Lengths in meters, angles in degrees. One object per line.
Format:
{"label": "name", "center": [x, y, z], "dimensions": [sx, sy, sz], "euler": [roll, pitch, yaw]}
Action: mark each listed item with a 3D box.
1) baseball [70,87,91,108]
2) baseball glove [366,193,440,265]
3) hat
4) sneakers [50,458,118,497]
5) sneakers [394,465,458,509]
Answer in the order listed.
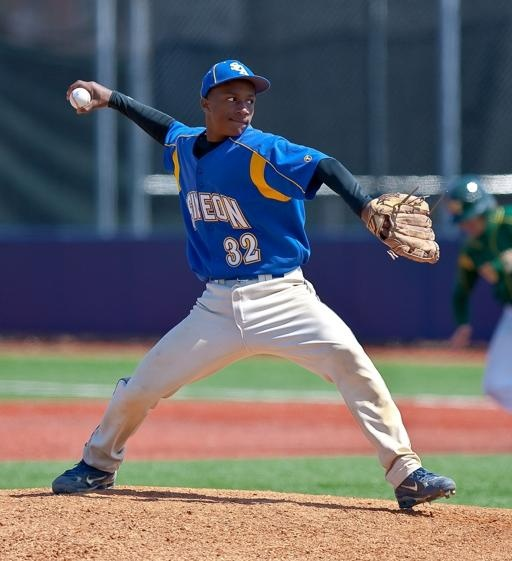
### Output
{"label": "baseball", "center": [-0.933, -0.983, 5.416], "dimensions": [0.117, 0.116, 0.105], "euler": [5, 19, -7]}
{"label": "baseball glove", "center": [0.609, -0.221, 4.243], "dimensions": [0.339, 0.253, 0.138], "euler": [20, -28, -28]}
{"label": "hat", "center": [-0.114, -0.960, 4.764], "dimensions": [0.276, 0.129, 0.204], "euler": [-3, 2, 40]}
{"label": "sneakers", "center": [-0.839, 0.959, 4.877], "dimensions": [0.313, 0.124, 0.130], "euler": [3, -2, -19]}
{"label": "sneakers", "center": [0.751, 0.953, 4.618], "dimensions": [0.364, 0.121, 0.187], "euler": [-17, -58, 28]}
